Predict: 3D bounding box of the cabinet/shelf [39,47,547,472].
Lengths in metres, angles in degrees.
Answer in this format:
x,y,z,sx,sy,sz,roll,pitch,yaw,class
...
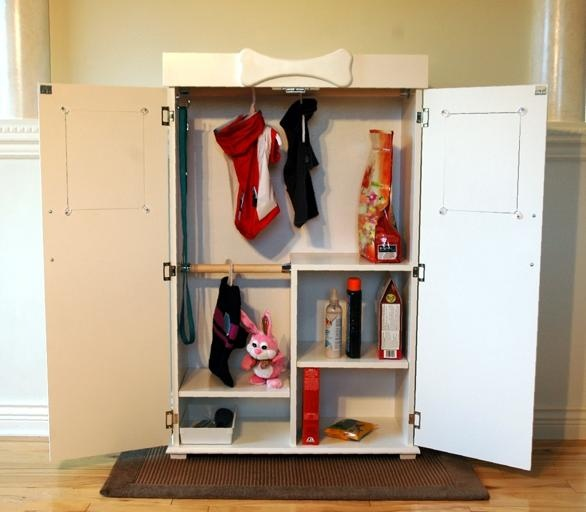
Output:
x,y,z,sx,sy,sz,roll,pitch,yaw,class
-0.010,-0.029,2.600,1.462,1.507,0.535,0,5,0,cabinet/shelf

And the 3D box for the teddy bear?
x,y,z,sx,sy,sz,roll,pitch,yaw,class
-0.119,0.387,2.713,0.196,0.329,0.170,-5,11,-22,teddy bear
